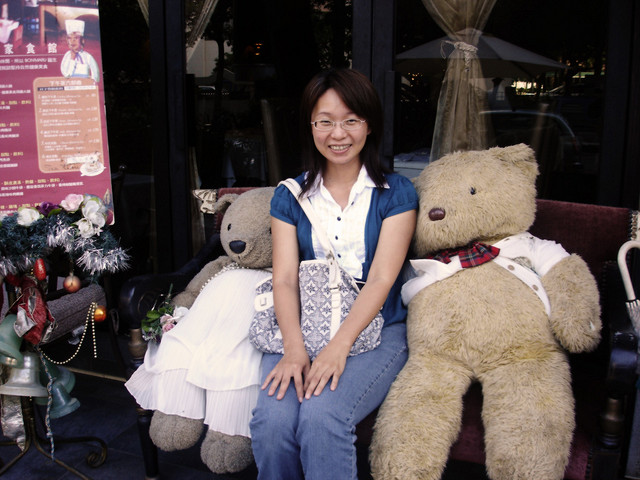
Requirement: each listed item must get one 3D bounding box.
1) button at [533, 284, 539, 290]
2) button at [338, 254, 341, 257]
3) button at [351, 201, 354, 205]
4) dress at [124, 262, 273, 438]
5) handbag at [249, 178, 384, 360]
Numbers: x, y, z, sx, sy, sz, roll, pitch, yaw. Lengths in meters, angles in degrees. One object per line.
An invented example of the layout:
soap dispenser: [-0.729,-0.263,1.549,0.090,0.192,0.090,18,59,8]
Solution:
button: [0.830,0.177,1.991,0.018,0.019,0.004,-1,-11,30]
button: [0.083,0.061,2.210,0.011,0.011,0.006,3,-5,8]
button: [0.138,-0.159,2.197,0.011,0.012,0.003,-12,-21,25]
dress: [-0.422,0.422,2.187,0.542,0.725,0.203,21,-10,23]
handbag: [-0.041,0.106,2.070,0.541,0.761,0.335,-12,45,-33]
